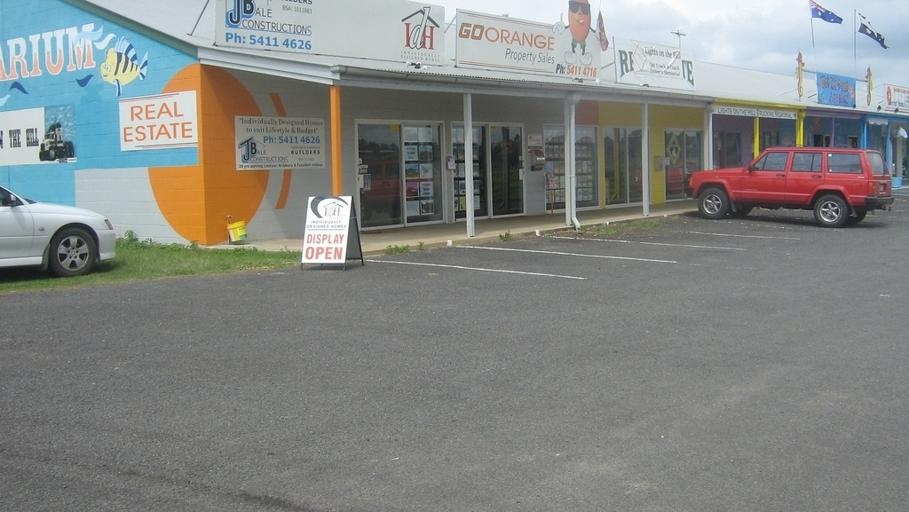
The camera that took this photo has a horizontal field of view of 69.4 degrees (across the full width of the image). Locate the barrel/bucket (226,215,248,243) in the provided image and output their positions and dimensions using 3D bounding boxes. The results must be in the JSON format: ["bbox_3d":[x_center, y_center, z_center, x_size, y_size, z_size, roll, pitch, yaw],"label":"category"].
[{"bbox_3d":[-6.062,-0.717,18.354,0.693,0.702,0.559,1,1,38],"label":"barrel/bucket"}]
